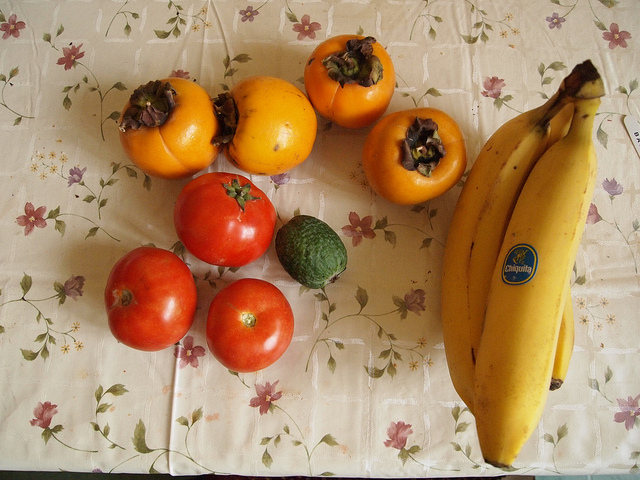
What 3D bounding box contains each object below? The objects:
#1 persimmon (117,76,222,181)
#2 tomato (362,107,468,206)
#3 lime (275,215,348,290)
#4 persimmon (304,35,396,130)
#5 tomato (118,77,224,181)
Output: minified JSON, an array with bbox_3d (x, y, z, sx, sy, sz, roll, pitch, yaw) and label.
[{"bbox_3d":[-0.308,-0.224,1.336,0.207,0.169,0.188,-28,84,-4],"label":"persimmon"},{"bbox_3d":[0.191,-0.167,1.375,0.207,0.153,0.187,-20,99,-7],"label":"tomato"},{"bbox_3d":[-0.020,0.024,1.345,0.116,0.120,0.150,-21,57,-44],"label":"lime"},{"bbox_3d":[0.057,-0.309,1.388,0.163,0.178,0.190,-9,87,-3],"label":"persimmon"},{"bbox_3d":[-0.304,-0.219,1.305,0.114,0.130,0.221,-17,46,-20],"label":"tomato"}]
